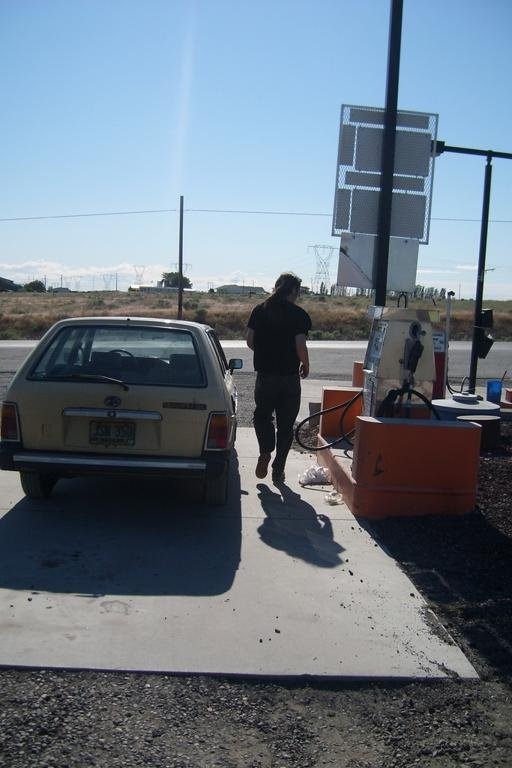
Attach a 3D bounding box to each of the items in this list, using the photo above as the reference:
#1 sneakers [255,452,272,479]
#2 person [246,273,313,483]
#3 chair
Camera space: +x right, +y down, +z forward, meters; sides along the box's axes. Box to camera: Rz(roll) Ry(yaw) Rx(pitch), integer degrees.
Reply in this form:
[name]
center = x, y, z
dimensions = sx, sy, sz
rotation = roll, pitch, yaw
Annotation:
[sneakers]
center = 0.070, 0.753, 5.654
dimensions = 0.100, 0.270, 0.121
rotation = 10, 1, 0
[person]
center = 0.192, -0.043, 5.672
dimensions = 0.578, 1.916, 0.584
rotation = 2, 5, 0
[chair]
center = -0.926, -0.095, 4.636
dimensions = 1.445, 0.200, 0.344
rotation = 2, -6, 12
